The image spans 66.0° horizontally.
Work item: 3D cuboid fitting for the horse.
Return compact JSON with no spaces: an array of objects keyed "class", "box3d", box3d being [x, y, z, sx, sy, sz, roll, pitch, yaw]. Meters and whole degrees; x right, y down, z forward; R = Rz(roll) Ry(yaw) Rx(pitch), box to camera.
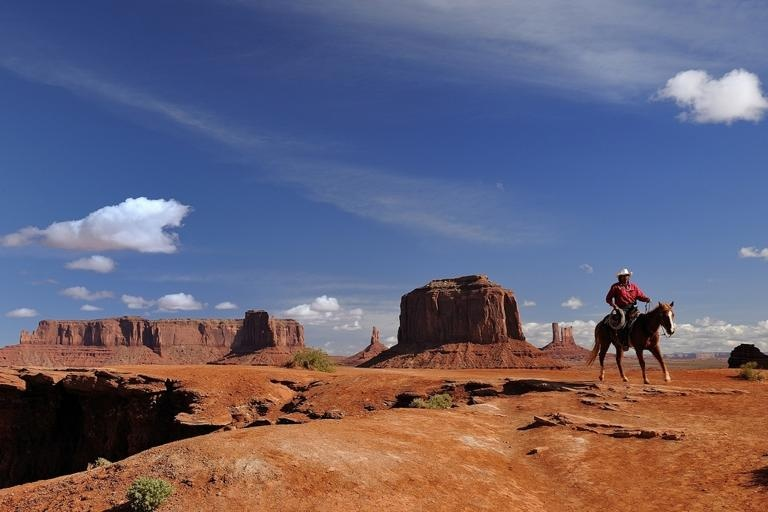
[{"class":"horse","box3d":[11.757,4.192,28.404,1.733,4.102,4.831,0,-1,-6]}]
